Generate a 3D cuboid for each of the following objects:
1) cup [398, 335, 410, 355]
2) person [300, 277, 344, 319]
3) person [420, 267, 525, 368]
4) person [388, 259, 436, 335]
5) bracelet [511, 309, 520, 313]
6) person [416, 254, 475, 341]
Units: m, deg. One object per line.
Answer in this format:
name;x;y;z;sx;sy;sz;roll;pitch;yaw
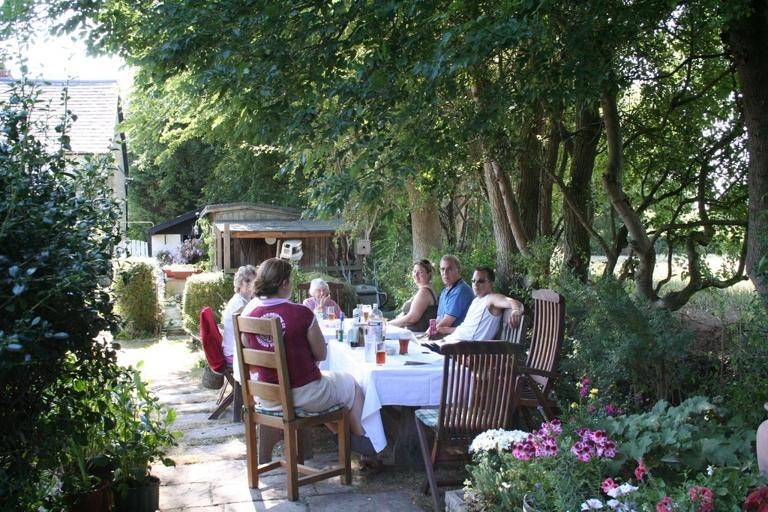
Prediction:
cup;0.209;0.930;7.296;0.103;0.174;0.132;-4;0;3
person;-0.891;0.579;9.637;0.559;0.765;0.487;-4;-2;-19
person;0.899;0.597;8.056;1.243;0.793;1.264;-12;5;-38
person;0.405;0.635;9.553;0.660;1.366;0.626;8;28;18
bracelet;1.480;0.617;7.753;0.104;0.054;0.041;-5;-1;40
person;0.835;0.647;8.900;0.593;1.290;0.592;2;-1;-9
